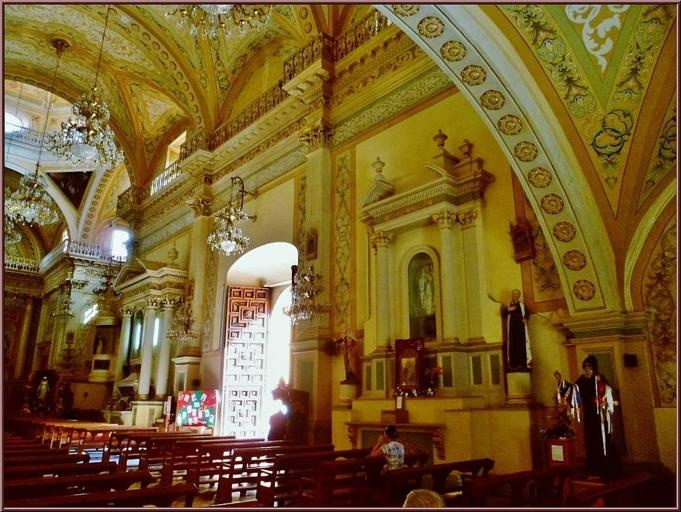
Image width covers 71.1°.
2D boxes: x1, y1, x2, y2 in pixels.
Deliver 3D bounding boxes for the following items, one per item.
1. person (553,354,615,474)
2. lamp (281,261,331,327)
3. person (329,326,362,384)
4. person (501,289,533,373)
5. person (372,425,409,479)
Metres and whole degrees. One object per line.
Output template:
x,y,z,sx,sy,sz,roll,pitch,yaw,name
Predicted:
2.848,1.827,5.486,0.557,1.276,0.192,-10,-21,24,person
-0.711,0.762,9.688,1.055,1.634,1.111,-4,-14,10,lamp
0.105,1.953,9.142,0.324,1.058,0.759,11,-23,-29,person
2.539,1.113,6.984,0.502,1.153,0.372,-15,-24,34,person
0.548,2.254,5.604,0.359,0.472,0.851,-2,-21,2,person
